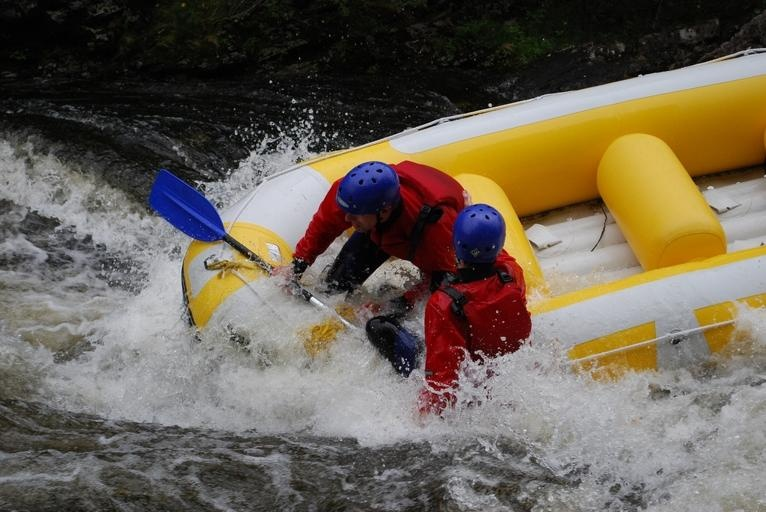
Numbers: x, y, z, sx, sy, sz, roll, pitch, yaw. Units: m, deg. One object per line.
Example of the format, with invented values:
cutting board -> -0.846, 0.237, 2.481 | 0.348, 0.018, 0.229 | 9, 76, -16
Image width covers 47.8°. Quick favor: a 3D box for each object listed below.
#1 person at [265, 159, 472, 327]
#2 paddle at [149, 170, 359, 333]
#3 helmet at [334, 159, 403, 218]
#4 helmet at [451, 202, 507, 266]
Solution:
person -> -0.056, -0.173, 6.848 | 1.630, 1.625, 0.993 | -9, 49, -4
paddle -> -0.981, 0.003, 6.867 | 2.518, 0.382, 0.120 | 32, 5, 18
helmet -> -0.116, -0.537, 6.460 | 0.374, 0.190, 0.498 | 31, 52, 30
helmet -> 0.694, -0.138, 6.338 | 0.415, 0.471, 0.543 | 7, 14, 7
